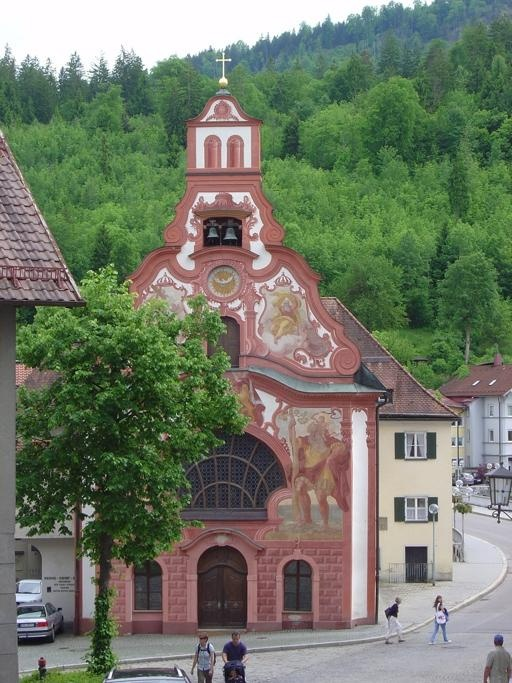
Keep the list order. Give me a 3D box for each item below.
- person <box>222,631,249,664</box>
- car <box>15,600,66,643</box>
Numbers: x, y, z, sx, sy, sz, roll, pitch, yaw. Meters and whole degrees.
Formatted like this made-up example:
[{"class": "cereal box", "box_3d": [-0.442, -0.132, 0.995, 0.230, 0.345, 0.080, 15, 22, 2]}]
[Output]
[{"class": "person", "box_3d": [-0.549, 7.517, 45.282, 0.532, 0.889, 0.737, 0, -8, -6]}, {"class": "car", "box_3d": [-6.747, 8.551, 57.484, 1.160, 1.030, 2.871, 0, 0, 4]}]
